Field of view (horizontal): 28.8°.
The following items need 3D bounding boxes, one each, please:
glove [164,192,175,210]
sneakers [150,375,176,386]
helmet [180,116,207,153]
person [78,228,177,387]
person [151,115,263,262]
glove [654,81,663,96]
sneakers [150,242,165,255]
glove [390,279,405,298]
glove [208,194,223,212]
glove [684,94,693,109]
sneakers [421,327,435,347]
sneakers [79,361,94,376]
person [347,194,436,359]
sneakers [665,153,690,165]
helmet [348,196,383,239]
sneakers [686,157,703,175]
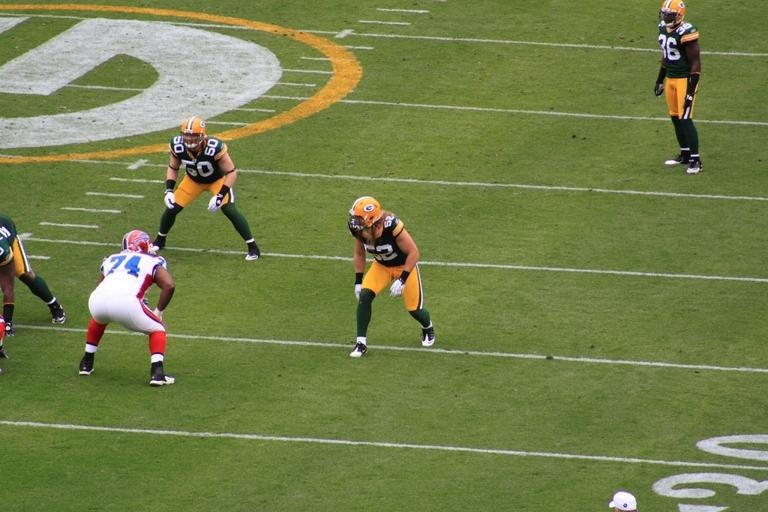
[{"bbox_3d":[-2.853,-0.743,19.995,0.109,0.232,0.130,1,18,-16],"label":"glove"},{"bbox_3d":[-2.590,1.447,17.584,0.341,0.111,0.110,-5,26,-28],"label":"sneakers"},{"bbox_3d":[-2.490,-1.653,19.832,0.424,0.338,0.438,2,37,2],"label":"helmet"},{"bbox_3d":[-2.926,0.726,17.667,1.146,1.490,0.737,6,17,3],"label":"person"},{"bbox_3d":[-2.335,-0.922,20.075,1.395,1.874,0.734,4,18,-6],"label":"person"},{"bbox_3d":[4.152,-2.524,22.576,0.169,0.176,0.067,8,56,12],"label":"glove"},{"bbox_3d":[-3.047,-0.100,20.054,0.225,0.065,0.253,0,21,3],"label":"sneakers"},{"bbox_3d":[0.172,0.383,17.932,0.167,0.245,0.249,6,16,1],"label":"glove"},{"bbox_3d":[-2.253,-0.698,19.967,0.191,0.229,0.091,26,13,-42],"label":"glove"},{"bbox_3d":[4.444,-2.252,21.792,0.120,0.188,0.149,6,16,2],"label":"glove"},{"bbox_3d":[0.544,0.995,18.335,0.137,0.109,0.307,-4,14,13],"label":"sneakers"},{"bbox_3d":[-3.508,1.331,17.684,0.191,0.146,0.403,4,-6,-4],"label":"sneakers"},{"bbox_3d":[0.094,0.237,18.180,1.163,1.953,0.811,5,18,-1],"label":"person"},{"bbox_3d":[4.343,-1.439,22.443,0.462,0.123,0.141,-2,10,-7],"label":"sneakers"},{"bbox_3d":[-0.199,-0.468,17.811,0.386,0.436,0.231,5,17,-1],"label":"helmet"},{"bbox_3d":[4.563,-1.311,22.148,0.156,0.135,0.373,0,9,28],"label":"sneakers"}]
